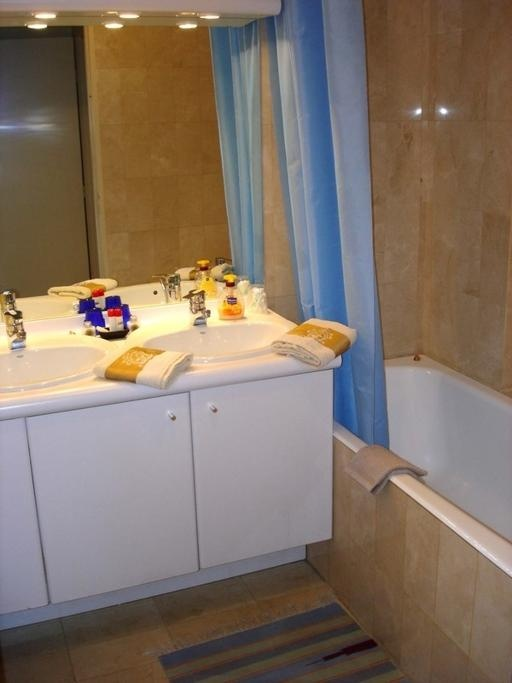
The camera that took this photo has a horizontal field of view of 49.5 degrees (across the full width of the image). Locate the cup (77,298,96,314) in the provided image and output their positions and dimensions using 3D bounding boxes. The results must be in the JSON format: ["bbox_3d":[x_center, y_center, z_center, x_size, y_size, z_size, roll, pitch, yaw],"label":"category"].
[{"bbox_3d":[-0.562,-0.118,1.826,0.048,0.050,0.050,3,16,-1],"label":"cup"}]

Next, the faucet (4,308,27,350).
[{"bbox_3d":[-0.689,-0.036,1.582,0.052,0.107,0.105,-5,10,-24],"label":"faucet"}]

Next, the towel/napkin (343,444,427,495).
[{"bbox_3d":[0.343,0.338,1.461,0.168,0.055,0.188,-15,-4,-16],"label":"towel/napkin"}]

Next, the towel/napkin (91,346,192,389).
[{"bbox_3d":[-0.284,0.064,1.421,0.199,0.071,0.166,2,10,19],"label":"towel/napkin"}]

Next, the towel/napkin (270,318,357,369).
[{"bbox_3d":[0.157,-0.005,1.549,0.159,0.050,0.156,-31,34,-35],"label":"towel/napkin"}]

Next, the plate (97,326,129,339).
[{"bbox_3d":[-0.465,-0.026,1.800,0.105,0.037,0.064,-4,10,-16],"label":"plate"}]

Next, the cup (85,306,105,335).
[{"bbox_3d":[-0.523,-0.065,1.802,0.066,0.081,0.056,-4,10,-18],"label":"cup"}]
